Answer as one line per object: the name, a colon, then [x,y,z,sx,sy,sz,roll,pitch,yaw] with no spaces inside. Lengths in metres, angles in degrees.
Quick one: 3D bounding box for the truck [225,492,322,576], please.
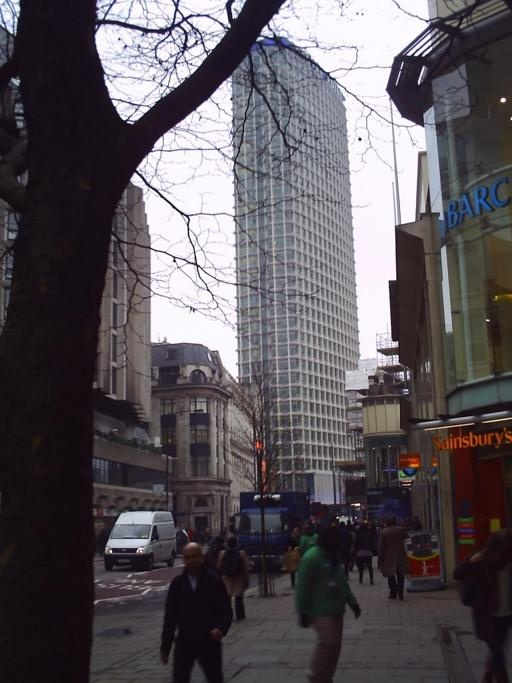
truck: [0.828,8.929,33.962,2.441,3.804,7.355,-4,-25,6]
